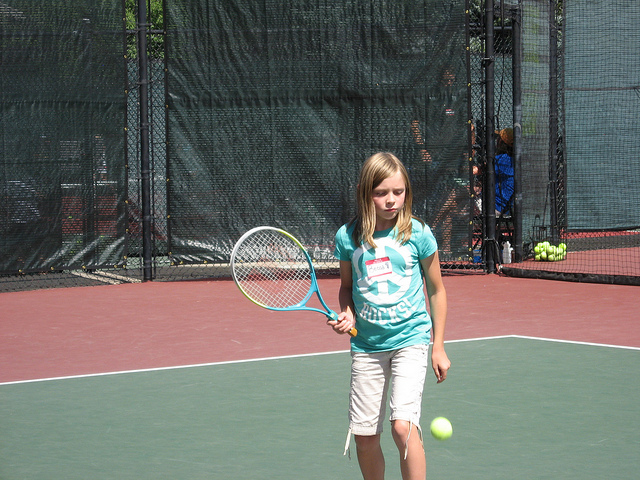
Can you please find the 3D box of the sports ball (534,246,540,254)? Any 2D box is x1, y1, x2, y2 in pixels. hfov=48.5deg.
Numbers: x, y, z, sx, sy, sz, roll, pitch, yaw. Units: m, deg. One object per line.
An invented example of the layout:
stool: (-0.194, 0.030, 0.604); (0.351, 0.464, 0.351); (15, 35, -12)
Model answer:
sports ball: (4.030, 0.187, 13.141); (0.113, 0.130, 0.111); (-2, 1, 0)

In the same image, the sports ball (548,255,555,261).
sports ball: (4.293, 0.337, 13.130); (0.087, 0.100, 0.085); (6, -36, 4)

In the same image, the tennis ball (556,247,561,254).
tennis ball: (4.448, 0.205, 13.215); (0.137, 0.115, 0.041); (-2, 5, -44)

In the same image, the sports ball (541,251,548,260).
sports ball: (4.168, 0.295, 13.149); (0.130, 0.148, 0.127); (-7, 0, 0)

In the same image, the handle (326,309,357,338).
handle: (0.119, 0.424, 3.620); (0.064, 0.060, 0.237); (-8, -44, 27)

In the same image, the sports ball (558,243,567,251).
sports ball: (4.596, 0.130, 13.392); (0.138, 0.163, 0.134); (2, 9, 0)

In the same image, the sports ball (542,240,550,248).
sports ball: (4.195, 0.077, 13.140); (0.115, 0.110, 0.112); (1, 3, 0)

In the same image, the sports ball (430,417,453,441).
sports ball: (0.700, 1.101, 4.172); (0.135, 0.132, 0.160); (-16, -34, 15)

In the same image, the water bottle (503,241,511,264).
water bottle: (3.286, 0.233, 12.351); (0.215, 0.374, 0.119); (-1, 4, -26)

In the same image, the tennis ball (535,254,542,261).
tennis ball: (4.068, 0.322, 13.177); (0.092, 0.124, 0.038); (-6, 1, 27)
